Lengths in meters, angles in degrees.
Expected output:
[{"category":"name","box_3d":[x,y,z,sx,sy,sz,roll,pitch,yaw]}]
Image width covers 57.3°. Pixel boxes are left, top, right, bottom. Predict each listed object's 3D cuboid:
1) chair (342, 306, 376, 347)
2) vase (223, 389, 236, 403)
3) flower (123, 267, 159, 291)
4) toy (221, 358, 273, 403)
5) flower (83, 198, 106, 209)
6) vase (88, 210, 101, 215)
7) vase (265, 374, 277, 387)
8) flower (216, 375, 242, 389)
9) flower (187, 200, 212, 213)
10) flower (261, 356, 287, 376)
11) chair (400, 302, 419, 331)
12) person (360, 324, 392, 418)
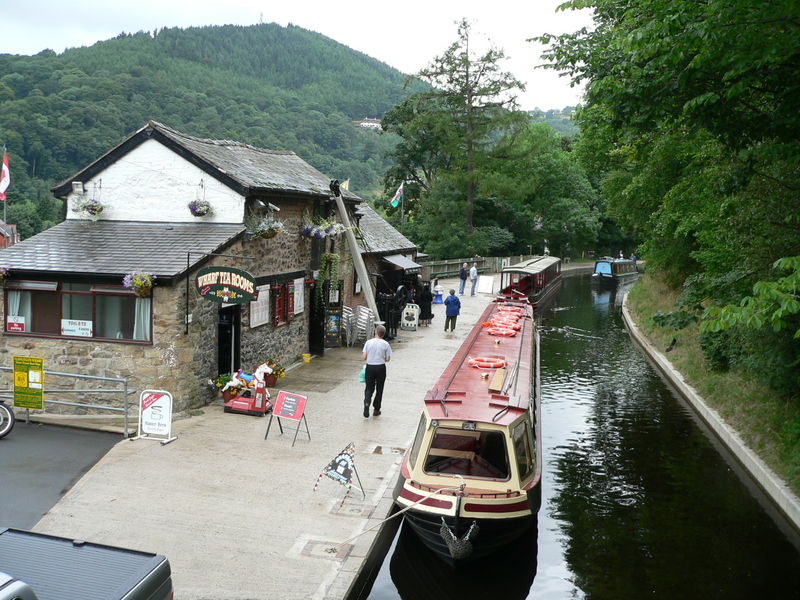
[{"category":"chair","box_3d":[-1.750,1.005,28.220,1.290,1.851,1.470,0,1,37]},{"category":"vase","box_3d":[-4.526,2.523,19.215,0.309,0.259,0.305,1,3,33]},{"category":"flower","box_3d":[-6.242,-0.525,17.585,0.553,0.345,0.546,2,8,4]},{"category":"toy","box_3d":[-3.907,2.199,19.210,1.384,0.781,0.783,-6,-6,20]},{"category":"flower","box_3d":[-8.712,-2.688,20.721,0.318,0.288,0.315,6,8,33]},{"category":"vase","box_3d":[-8.706,-2.457,20.880,0.116,0.121,0.305,11,12,29]},{"category":"vase","box_3d":[-3.780,2.336,21.194,0.338,0.281,0.330,-2,5,-13]},{"category":"flower","box_3d":[-4.526,2.170,19.341,0.505,0.285,0.528,-3,9,4]},{"category":"flower","box_3d":[-5.497,-2.495,19.973,0.401,0.262,0.430,0,0,1]},{"category":"flower","box_3d":[-3.698,1.925,21.321,0.505,0.372,0.503,0,1,1]},{"category":"chair","box_3d":[0.410,0.766,32.526,0.732,1.068,1.085,6,27,4]},{"category":"person","box_3d":[-0.666,1.771,19.209,0.686,2.565,1.256,5,11,0]}]
